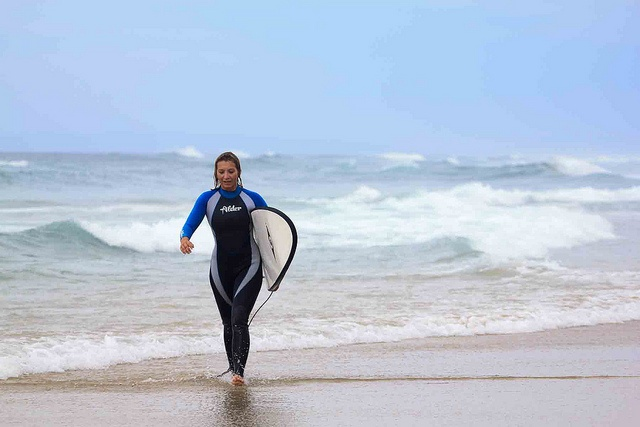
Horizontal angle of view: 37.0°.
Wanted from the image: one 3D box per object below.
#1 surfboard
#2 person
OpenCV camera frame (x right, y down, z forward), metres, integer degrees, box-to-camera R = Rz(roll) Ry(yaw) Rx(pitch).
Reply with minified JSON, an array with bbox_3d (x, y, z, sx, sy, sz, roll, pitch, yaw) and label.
[{"bbox_3d":[-0.736,0.595,15.400,0.720,1.392,0.307,6,11,28],"label":"surfboard"},{"bbox_3d":[-1.532,0.880,15.472,1.223,3.732,0.731,2,10,4],"label":"person"}]
